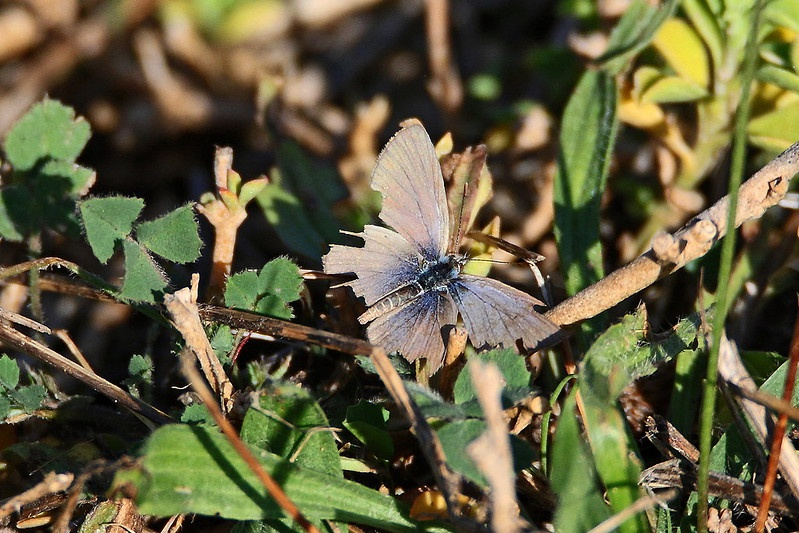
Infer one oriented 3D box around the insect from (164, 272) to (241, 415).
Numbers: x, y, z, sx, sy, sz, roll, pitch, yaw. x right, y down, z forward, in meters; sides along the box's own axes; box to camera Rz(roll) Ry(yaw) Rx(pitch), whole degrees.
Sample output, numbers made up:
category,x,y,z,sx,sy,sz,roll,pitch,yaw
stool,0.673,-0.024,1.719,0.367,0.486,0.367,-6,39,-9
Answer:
category,x,y,z,sx,sy,sz,roll,pitch,yaw
insect,-0.510,0.198,2.056,0.114,0.438,0.129,-24,11,-24
